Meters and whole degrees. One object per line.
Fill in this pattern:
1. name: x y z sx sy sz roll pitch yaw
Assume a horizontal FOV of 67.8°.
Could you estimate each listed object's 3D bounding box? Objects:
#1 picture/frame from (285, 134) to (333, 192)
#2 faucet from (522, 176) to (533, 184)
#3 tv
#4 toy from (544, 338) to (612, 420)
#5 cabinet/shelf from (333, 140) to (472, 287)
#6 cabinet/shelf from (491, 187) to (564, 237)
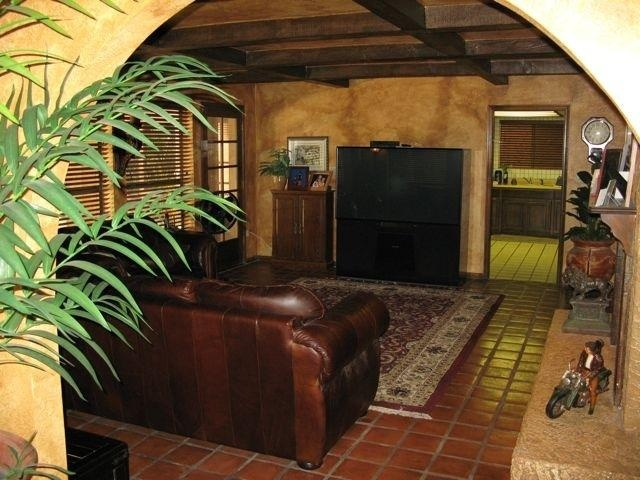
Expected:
1. picture/frame: -0.160 -1.317 8.198 1.417 0.859 0.093 3 7 18
2. faucet: 5.086 -1.454 11.593 0.225 0.125 0.594 5 12 22
3. tv: 1.307 -0.842 7.273 1.659 0.708 0.468 3 12 19
4. toy: 1.560 0.831 2.912 0.671 0.299 0.309 -7 6 -38
5. cabinet/shelf: 1.353 -0.414 7.322 3.006 2.349 1.046 2 7 20
6. cabinet/shelf: 4.634 -0.650 10.434 1.521 0.756 0.738 2 5 23
